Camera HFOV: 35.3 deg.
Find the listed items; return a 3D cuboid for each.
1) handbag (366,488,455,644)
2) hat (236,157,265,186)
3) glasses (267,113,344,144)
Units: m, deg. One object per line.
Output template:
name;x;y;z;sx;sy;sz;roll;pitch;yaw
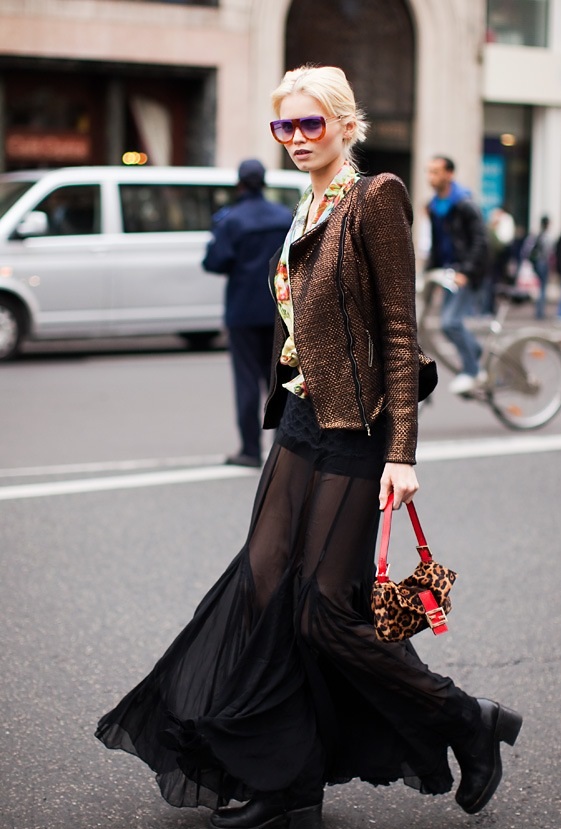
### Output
handbag;0.255;0.301;1.721;0.153;0.324;0.259;6;10;9
hat;-0.207;-1.660;6.072;0.165;0.200;0.204;0;30;3
glasses;0.023;-0.564;1.771;0.157;0.056;0.090;11;11;35
